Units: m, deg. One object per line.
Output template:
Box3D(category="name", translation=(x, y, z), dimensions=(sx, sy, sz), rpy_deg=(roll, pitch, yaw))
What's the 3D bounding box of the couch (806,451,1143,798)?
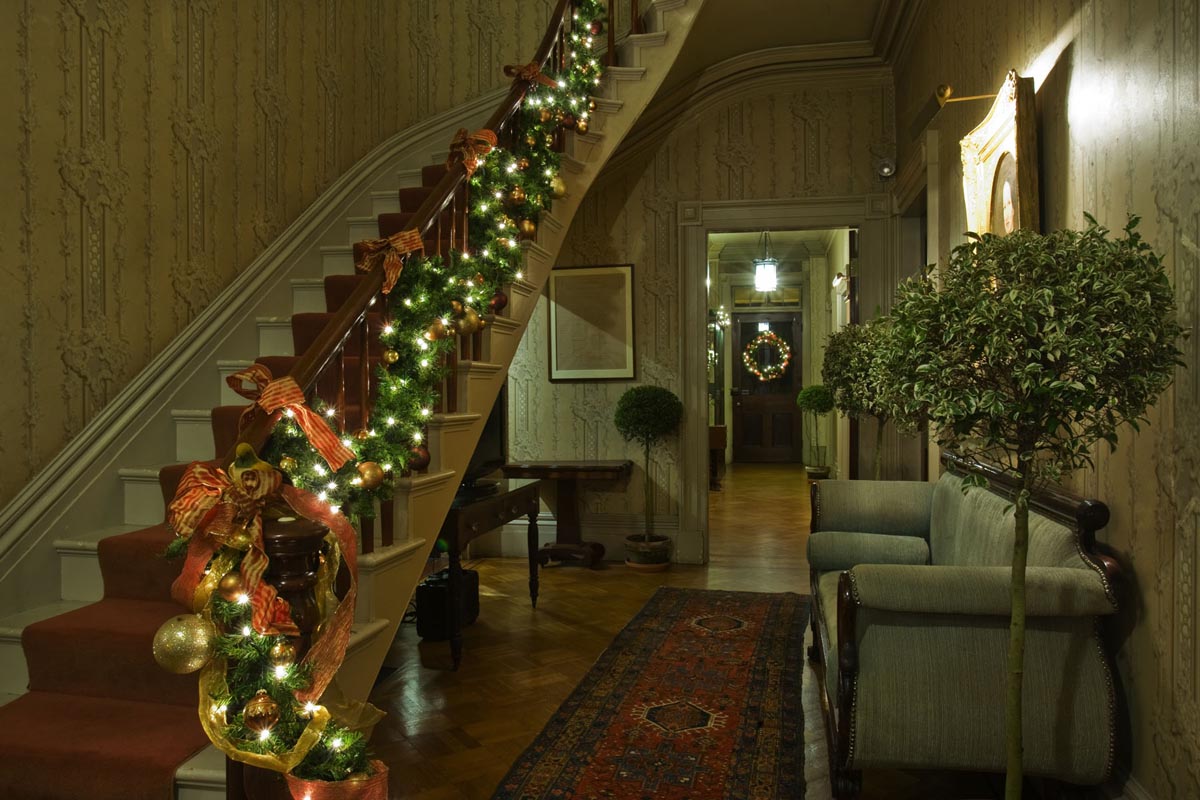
Box3D(category="couch", translation=(1.615, 0.419, 4.626), dimensions=(1.081, 1.340, 2.656), rpy_deg=(1, 1, 16))
